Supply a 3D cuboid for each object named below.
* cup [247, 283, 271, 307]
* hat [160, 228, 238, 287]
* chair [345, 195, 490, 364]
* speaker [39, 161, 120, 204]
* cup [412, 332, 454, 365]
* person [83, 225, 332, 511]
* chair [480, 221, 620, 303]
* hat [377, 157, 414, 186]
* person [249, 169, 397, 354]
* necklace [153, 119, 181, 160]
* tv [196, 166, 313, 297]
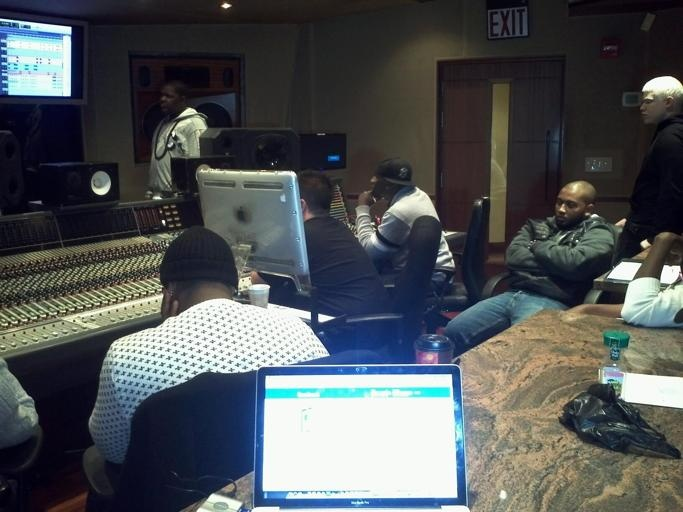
[{"bbox_3d":[-0.368,0.173,2.429,0.095,0.104,0.097,0,3,0],"label":"cup"},{"bbox_3d":[-0.457,0.001,1.737,0.237,0.198,0.248,-1,-7,-7],"label":"hat"},{"bbox_3d":[0.624,0.062,3.879,0.769,1.519,0.907,3,6,15],"label":"chair"},{"bbox_3d":[-1.295,-0.364,2.845,0.304,0.206,0.176,-4,3,-1],"label":"speaker"},{"bbox_3d":[0.330,0.332,1.963,0.110,0.114,0.110,0,18,0],"label":"cup"},{"bbox_3d":[-0.336,0.148,1.732,0.682,1.015,0.704,-5,20,-18],"label":"person"},{"bbox_3d":[1.379,0.097,3.518,0.586,0.781,0.641,9,2,-45],"label":"chair"},{"bbox_3d":[0.382,-0.613,3.900,0.220,0.131,0.174,30,21,23],"label":"hat"},{"bbox_3d":[-0.100,0.176,3.195,0.743,1.352,0.534,0,20,17],"label":"person"},{"bbox_3d":[-1.525,-0.992,4.587,0.081,0.349,0.237,9,3,-42],"label":"necklace"},{"bbox_3d":[-0.457,-0.107,2.463,0.547,0.547,0.266,3,9,24],"label":"tv"}]
